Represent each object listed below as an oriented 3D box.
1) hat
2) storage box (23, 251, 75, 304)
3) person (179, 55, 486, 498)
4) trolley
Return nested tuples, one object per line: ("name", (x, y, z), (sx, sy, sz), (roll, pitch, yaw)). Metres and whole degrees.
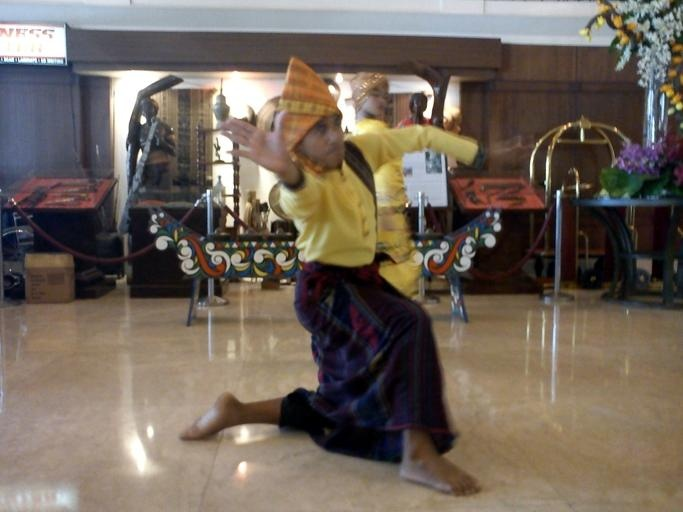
("hat", (-0.157, -0.723, 3.431), (0.320, 0.423, 0.225), (-6, 14, -23))
("storage box", (-2.714, 0.161, 6.719), (0.417, 0.449, 0.433), (0, 9, -21))
("person", (0.086, 0.061, 3.513), (1.078, 1.982, 0.527), (2, 13, 11))
("trolley", (2.736, -0.757, 8.101), (1.292, 1.598, 1.348), (-4, -8, 9))
